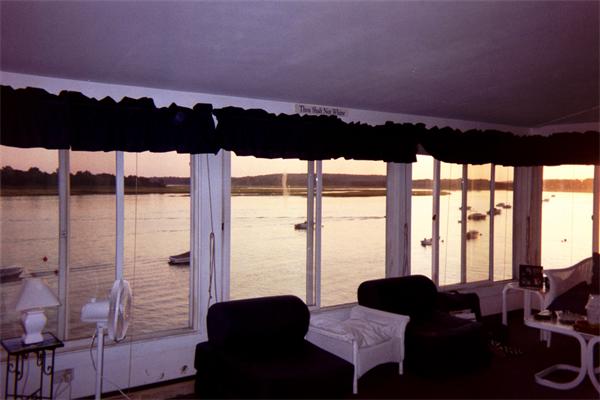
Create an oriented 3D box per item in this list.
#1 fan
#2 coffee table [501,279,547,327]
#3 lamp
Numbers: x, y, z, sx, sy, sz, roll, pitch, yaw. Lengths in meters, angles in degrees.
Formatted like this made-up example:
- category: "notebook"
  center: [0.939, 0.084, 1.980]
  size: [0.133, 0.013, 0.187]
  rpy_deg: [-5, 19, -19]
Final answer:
- category: "fan"
  center: [-2.229, 1.617, 5.537]
  size: [0.543, 1.197, 0.997]
  rpy_deg: [-1, 1, -23]
- category: "coffee table"
  center: [3.727, 1.764, 8.009]
  size: [0.670, 0.571, 0.648]
  rpy_deg: [8, -5, -44]
- category: "lamp"
  center: [-3.080, 1.260, 5.476]
  size: [0.568, 0.707, 0.621]
  rpy_deg: [1, -3, 0]
